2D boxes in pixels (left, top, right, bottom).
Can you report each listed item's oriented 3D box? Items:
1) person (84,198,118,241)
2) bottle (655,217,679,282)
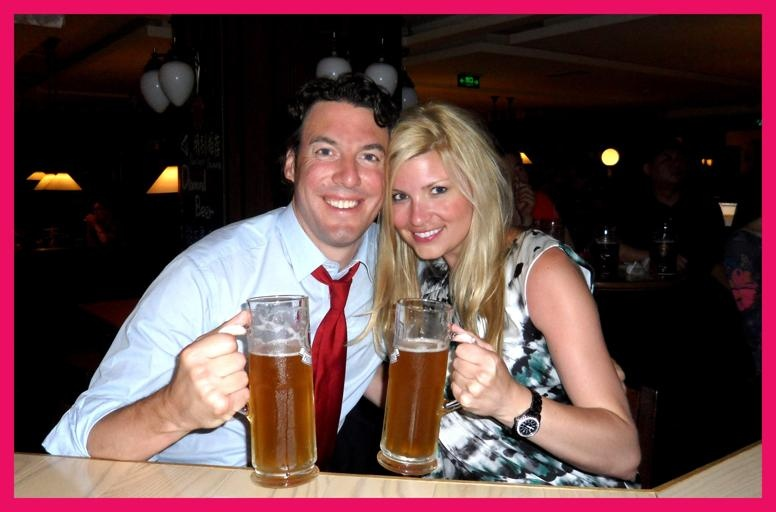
[{"bbox_3d":[-3.860,-0.485,7.731,0.280,0.475,0.751,18,32,-36],"label":"person"},{"bbox_3d":[2.218,-0.047,4.610,0.182,0.397,0.313,1,4,26],"label":"bottle"}]
